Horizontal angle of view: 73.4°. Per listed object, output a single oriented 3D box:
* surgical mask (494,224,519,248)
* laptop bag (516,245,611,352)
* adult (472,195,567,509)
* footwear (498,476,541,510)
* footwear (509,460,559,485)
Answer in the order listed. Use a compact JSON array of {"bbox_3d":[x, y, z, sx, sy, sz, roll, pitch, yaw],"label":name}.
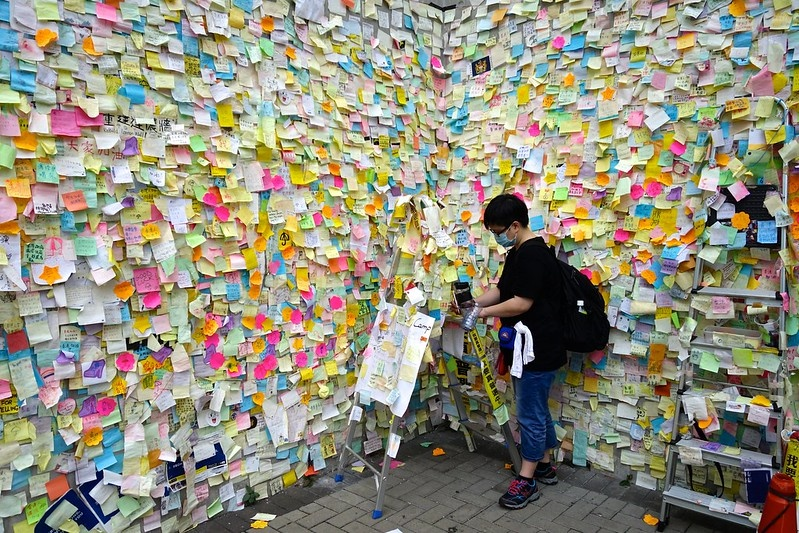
[{"bbox_3d":[0.686,-0.194,3.389,0.125,0.088,0.115,-28,8,2],"label":"surgical mask"},{"bbox_3d":[1.137,0.184,3.831,0.546,0.903,0.673,-4,2,3],"label":"laptop bag"},{"bbox_3d":[0.764,0.543,3.591,0.693,1.966,0.666,0,6,25],"label":"adult"},{"bbox_3d":[0.747,1.413,3.367,0.123,0.138,0.303,-4,-9,43],"label":"footwear"},{"bbox_3d":[0.937,1.364,3.581,0.090,0.094,0.216,-3,6,-40],"label":"footwear"}]
